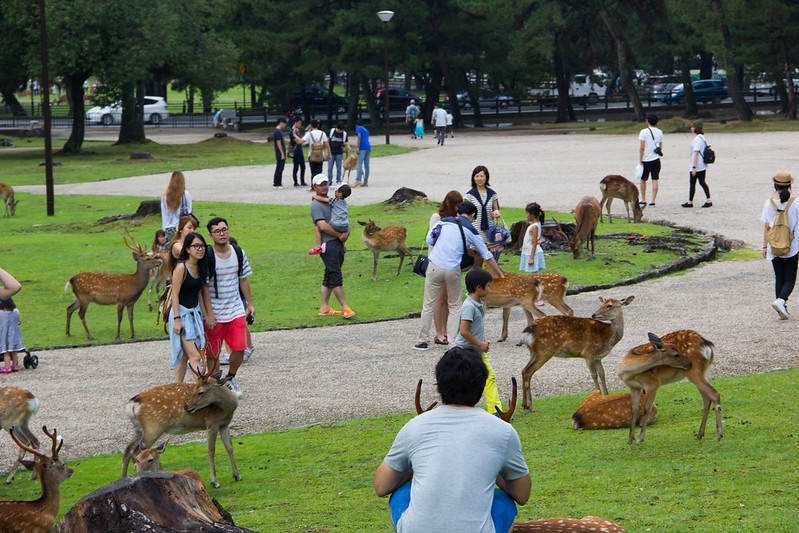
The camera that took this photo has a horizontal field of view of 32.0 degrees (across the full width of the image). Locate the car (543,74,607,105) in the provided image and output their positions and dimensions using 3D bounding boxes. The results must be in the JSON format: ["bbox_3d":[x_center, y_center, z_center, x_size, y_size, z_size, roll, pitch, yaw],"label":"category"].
[{"bbox_3d":[12.423,-12.250,100.165,5.643,2.673,2.527,-5,10,-22],"label":"car"}]

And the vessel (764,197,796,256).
[{"bbox_3d":[11.779,-1.201,43.199,0.823,1.770,0.392,-1,7,16],"label":"vessel"}]

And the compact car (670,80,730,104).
[{"bbox_3d":[20.416,-11.810,94.426,4.117,1.602,1.935,0,4,-7],"label":"compact car"}]

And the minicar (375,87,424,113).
[{"bbox_3d":[-0.092,-11.354,96.608,2.993,1.447,1.774,-3,9,-12],"label":"minicar"}]
